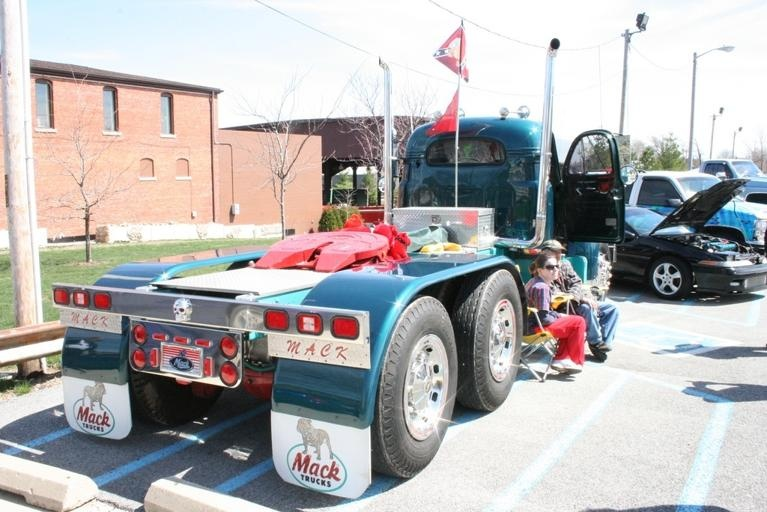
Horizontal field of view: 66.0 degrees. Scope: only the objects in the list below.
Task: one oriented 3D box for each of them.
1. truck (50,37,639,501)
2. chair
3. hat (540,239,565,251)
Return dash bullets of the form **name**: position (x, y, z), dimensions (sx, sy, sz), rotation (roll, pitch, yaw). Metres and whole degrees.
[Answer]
- **truck**: position (0.484, 0.201, 7.921), dimensions (4.035, 4.118, 7.597), rotation (4, 10, 34)
- **chair**: position (2.019, 0.905, 7.405), dimensions (0.667, 0.851, 0.693), rotation (38, -42, -24)
- **hat**: position (2.199, -0.134, 7.798), dimensions (0.194, 0.120, 0.268), rotation (1, 0, -45)
